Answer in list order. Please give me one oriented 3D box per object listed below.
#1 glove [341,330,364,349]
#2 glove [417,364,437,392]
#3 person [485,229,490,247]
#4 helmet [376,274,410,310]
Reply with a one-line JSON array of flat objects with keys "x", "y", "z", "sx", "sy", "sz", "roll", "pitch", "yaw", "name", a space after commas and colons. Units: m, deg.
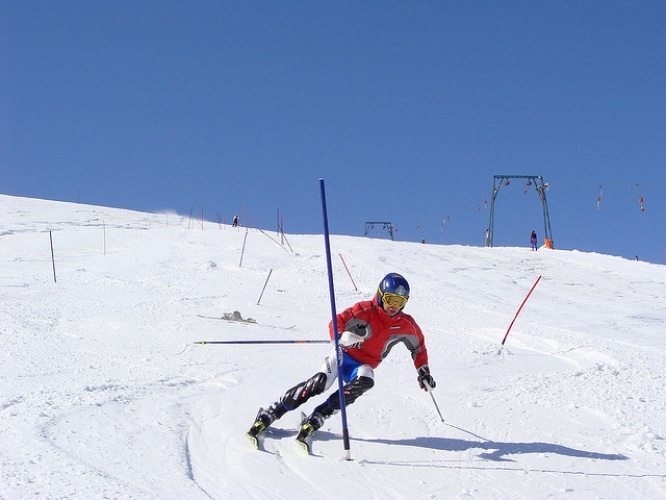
[{"x": 0.256, "y": 1.286, "z": 7.776, "sx": 0.360, "sy": 0.265, "sz": 0.139, "roll": 2, "pitch": 5, "yaw": -22, "name": "glove"}, {"x": 1.426, "y": 1.935, "z": 8.290, "sx": 0.231, "sy": 0.410, "sz": 0.203, "roll": -7, "pitch": -9, "yaw": 3, "name": "glove"}, {"x": 10.564, "y": -0.796, "z": 36.945, "sx": 0.252, "sy": 1.046, "sz": 0.533, "roll": 5, "pitch": 5, "yaw": 15, "name": "person"}, {"x": 0.833, "y": 0.574, "z": 7.971, "sx": 0.396, "sy": 0.531, "sz": 0.513, "roll": 13, "pitch": 6, "yaw": -6, "name": "helmet"}]
